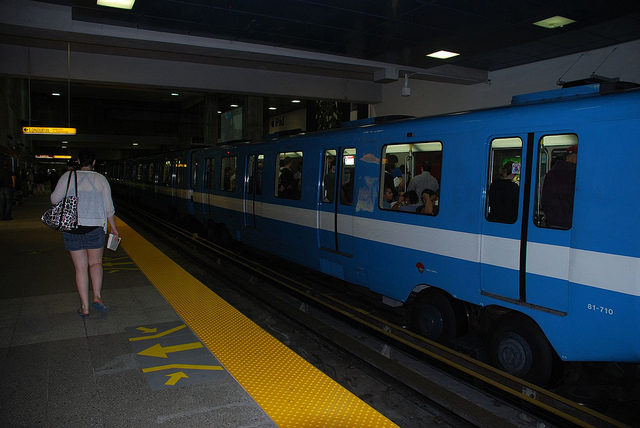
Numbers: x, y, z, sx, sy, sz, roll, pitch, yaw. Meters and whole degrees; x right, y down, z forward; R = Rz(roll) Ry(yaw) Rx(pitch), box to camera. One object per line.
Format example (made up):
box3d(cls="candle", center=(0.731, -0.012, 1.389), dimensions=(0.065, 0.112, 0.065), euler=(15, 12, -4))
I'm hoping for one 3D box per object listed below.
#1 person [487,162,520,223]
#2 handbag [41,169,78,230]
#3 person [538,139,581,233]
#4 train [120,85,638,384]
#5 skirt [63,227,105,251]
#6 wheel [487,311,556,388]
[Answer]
box3d(cls="person", center=(2.374, -0.270, 5.039), dimensions=(0.182, 0.771, 0.426), euler=(-6, 12, -31))
box3d(cls="handbag", center=(-3.801, -0.172, 5.752), dimensions=(0.462, 0.813, 0.262), euler=(-7, 12, -32))
box3d(cls="person", center=(2.830, -0.352, 4.692), dimensions=(0.373, 1.043, 0.522), euler=(6, 12, 31))
box3d(cls="train", center=(1.317, 0.101, 6.378), dimensions=(0.718, 3.525, 6.372), euler=(-8, 14, -38))
box3d(cls="skirt", center=(-3.588, 0.412, 5.987), dimensions=(0.534, 0.362, 0.373), euler=(0, 19, -9))
box3d(cls="wheel", center=(2.525, 1.767, 5.006), dimensions=(0.416, 1.002, 0.889), euler=(4, -12, -28))
